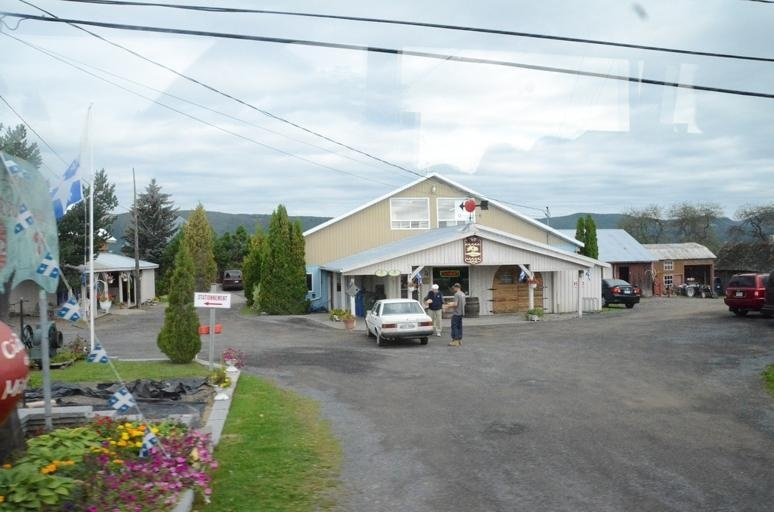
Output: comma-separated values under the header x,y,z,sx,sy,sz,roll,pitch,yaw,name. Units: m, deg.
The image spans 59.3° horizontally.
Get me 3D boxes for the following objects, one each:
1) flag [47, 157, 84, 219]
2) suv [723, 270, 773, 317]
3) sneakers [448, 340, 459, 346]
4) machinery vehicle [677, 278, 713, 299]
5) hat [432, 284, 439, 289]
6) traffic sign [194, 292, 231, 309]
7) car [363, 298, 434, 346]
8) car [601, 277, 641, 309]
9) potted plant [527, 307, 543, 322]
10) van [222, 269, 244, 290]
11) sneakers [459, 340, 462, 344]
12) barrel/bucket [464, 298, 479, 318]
x,y,z,sx,sy,sz,roll,pitch,yaw,name
-6.261,-1.343,13.281,0.561,1.160,0.838,-3,4,-25,flag
15.433,1.691,29.078,1.405,1.851,1.686,-4,5,-44,suv
2.288,2.946,22.986,0.335,0.155,0.250,-1,3,3,sneakers
22.855,2.388,49.910,1.424,1.300,2.675,1,-1,44,machinery vehicle
1.815,1.180,25.804,0.229,0.163,0.361,4,0,6,hat
-4.469,1.153,17.331,0.806,0.477,1.416,-2,3,-18,traffic sign
0.433,2.363,24.229,1.817,1.500,2.287,-2,3,-15,car
12.893,2.079,38.136,1.091,0.914,2.574,-1,2,-5,car
6.712,2.690,30.900,0.589,0.576,0.594,1,-4,-3,potted plant
-15.240,2.477,67.257,1.646,2.045,2.514,-2,4,-22,van
2.491,2.950,23.121,0.109,0.150,0.053,-3,-2,-22,sneakers
4.133,2.504,33.048,0.544,0.948,0.837,3,5,40,barrel/bucket
